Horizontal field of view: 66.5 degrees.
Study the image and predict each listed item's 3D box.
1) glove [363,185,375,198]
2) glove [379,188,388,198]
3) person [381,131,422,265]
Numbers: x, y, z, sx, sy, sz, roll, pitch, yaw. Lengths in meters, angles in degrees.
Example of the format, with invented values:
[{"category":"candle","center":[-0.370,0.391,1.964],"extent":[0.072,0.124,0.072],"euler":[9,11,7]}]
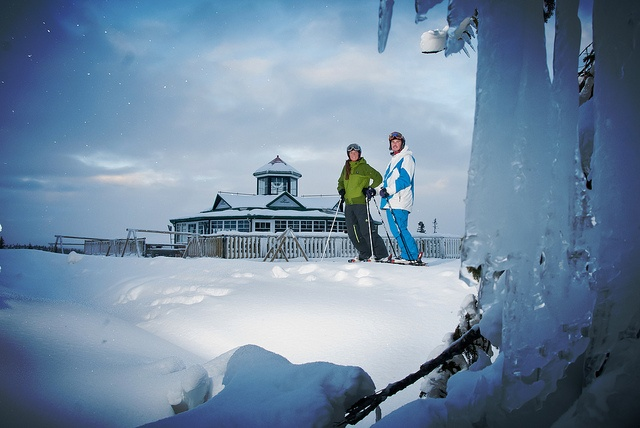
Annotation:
[{"category":"glove","center":[0.904,-0.390,9.148],"extent":[0.257,0.223,0.237],"euler":[-6,-4,20]},{"category":"glove","center":[1.119,-0.380,8.603],"extent":[0.108,0.136,0.154],"euler":[-10,-35,20]},{"category":"person","center":[1.361,-0.270,8.510],"extent":[0.641,2.254,0.736],"euler":[-5,-4,8]}]
